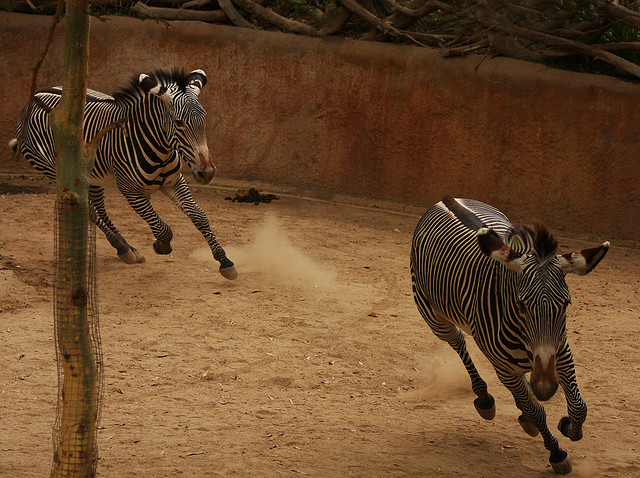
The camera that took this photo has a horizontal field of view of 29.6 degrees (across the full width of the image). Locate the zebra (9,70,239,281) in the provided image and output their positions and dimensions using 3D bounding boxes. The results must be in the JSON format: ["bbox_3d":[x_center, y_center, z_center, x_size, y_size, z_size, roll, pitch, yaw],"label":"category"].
[{"bbox_3d":[-2.318,-0.868,13.796,1.001,2.086,3.717,-14,15,-40],"label":"zebra"}]

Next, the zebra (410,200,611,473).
[{"bbox_3d":[1.618,0.803,10.901,0.869,2.152,2.018,-3,21,-22],"label":"zebra"}]
